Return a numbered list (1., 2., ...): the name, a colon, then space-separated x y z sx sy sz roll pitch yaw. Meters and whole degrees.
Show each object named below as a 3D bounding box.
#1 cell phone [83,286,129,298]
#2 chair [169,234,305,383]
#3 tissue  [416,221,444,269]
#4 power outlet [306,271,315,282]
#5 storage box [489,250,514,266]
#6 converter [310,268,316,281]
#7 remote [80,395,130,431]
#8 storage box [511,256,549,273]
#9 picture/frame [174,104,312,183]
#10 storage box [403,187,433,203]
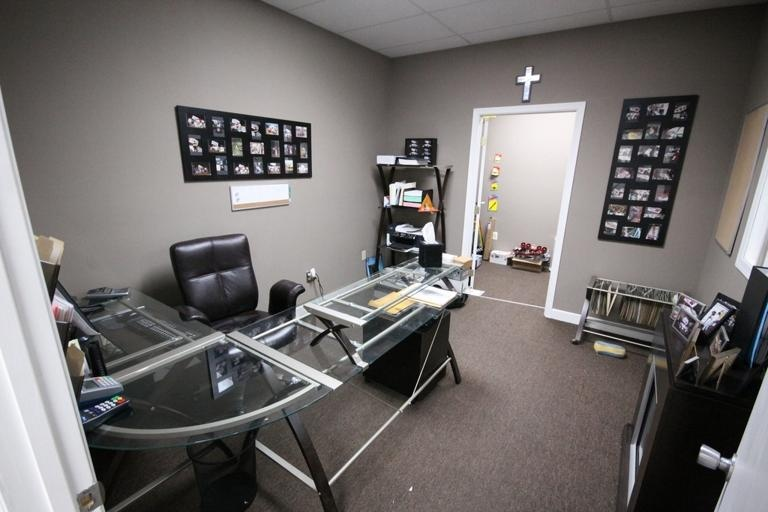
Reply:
1. cell phone: -1.926 0.251 3.421 0.220 0.065 0.131 2 13 -9
2. chair: -1.330 0.308 4.029 0.826 0.986 0.877 12 22 43
3. tissue : 0.359 -0.079 3.855 0.235 0.325 0.238 7 16 38
4. power outlet: -0.756 0.197 4.996 0.051 0.096 0.095 7 10 36
5. storage box: 1.692 -0.028 7.034 0.233 0.151 0.233 11 20 33
6. converter: -0.733 0.186 5.014 0.035 0.108 0.080 5 6 44
7. remote: -1.448 0.793 2.555 0.116 0.051 0.211 19 21 30
8. storage box: 1.993 0.091 6.722 0.489 0.167 0.345 5 12 15
9. picture/frame: -1.130 -0.956 4.360 0.029 0.586 1.365 7 11 37
10. storage box: 0.383 -0.686 5.527 0.289 0.151 0.239 8 14 28
